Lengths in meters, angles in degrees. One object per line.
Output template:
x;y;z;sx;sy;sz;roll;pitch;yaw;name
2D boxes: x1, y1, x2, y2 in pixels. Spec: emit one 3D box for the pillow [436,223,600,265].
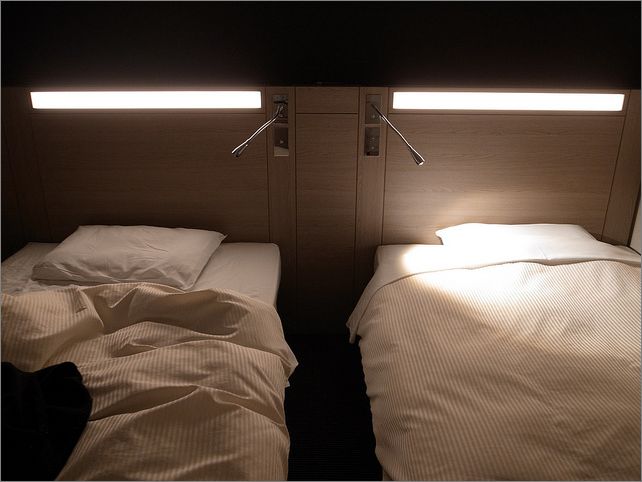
1.021;-0.003;2.253;0.498;0.088;0.306;-1;26;3;pillow
